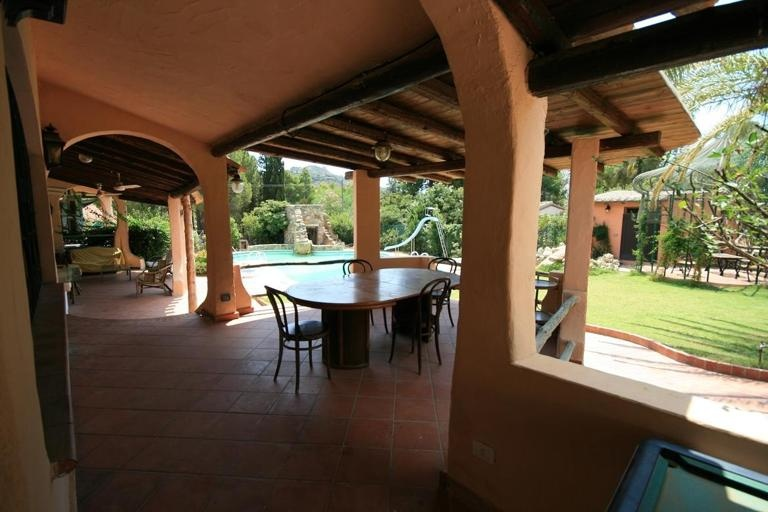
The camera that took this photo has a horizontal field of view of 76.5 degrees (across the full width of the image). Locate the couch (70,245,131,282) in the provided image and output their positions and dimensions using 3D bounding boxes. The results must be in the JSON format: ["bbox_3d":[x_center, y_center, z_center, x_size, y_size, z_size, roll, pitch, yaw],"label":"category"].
[{"bbox_3d":[-6.489,0.141,11.099,0.617,0.676,1.231,0,7,8],"label":"couch"}]

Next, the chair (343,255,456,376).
[{"bbox_3d":[0.255,0.614,5.495,1.302,0.683,1.289,-4,4,-35],"label":"chair"}]
